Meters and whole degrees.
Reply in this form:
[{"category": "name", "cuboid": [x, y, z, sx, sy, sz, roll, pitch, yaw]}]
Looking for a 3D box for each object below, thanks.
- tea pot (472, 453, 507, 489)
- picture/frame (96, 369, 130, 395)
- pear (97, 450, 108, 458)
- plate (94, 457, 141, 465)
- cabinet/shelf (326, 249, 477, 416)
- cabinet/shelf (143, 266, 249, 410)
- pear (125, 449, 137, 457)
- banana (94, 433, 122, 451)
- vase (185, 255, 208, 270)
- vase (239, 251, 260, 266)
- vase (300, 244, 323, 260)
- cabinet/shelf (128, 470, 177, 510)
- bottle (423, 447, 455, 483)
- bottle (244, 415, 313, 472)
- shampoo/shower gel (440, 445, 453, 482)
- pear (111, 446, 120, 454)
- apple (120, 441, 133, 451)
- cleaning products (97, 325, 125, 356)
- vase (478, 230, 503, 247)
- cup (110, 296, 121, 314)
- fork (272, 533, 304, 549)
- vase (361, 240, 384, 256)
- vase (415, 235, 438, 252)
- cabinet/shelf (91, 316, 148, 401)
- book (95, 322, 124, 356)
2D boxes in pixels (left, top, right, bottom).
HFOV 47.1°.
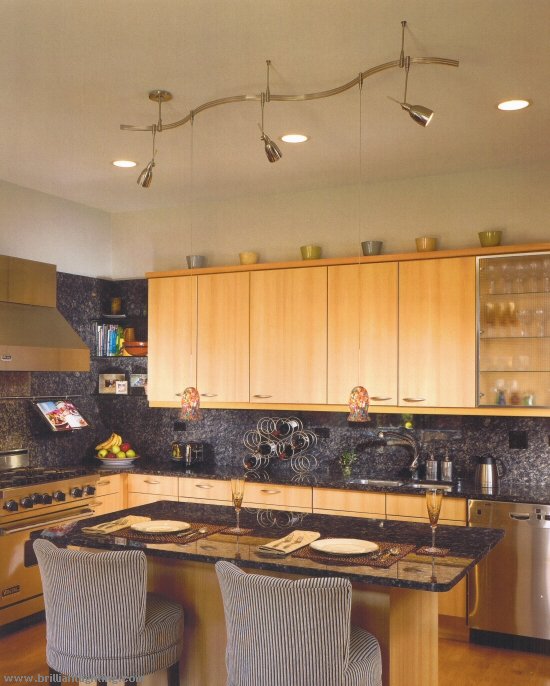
[{"category": "tea pot", "cuboid": [1.327, 0.795, 3.908, 0.166, 0.210, 0.206, -1, -8, 20]}, {"category": "picture/frame", "cuboid": [-1.373, 0.336, 5.308, 0.222, 0.154, 0.008, 0, -1, 6]}, {"category": "pear", "cuboid": [-1.380, 0.893, 5.026, 0.057, 0.053, 0.062, -28, 20, 27]}, {"category": "plate", "cuboid": [-1.255, 0.943, 5.064, 0.312, 0.060, 0.244, 0, -5, -17]}, {"category": "cabinet/shelf", "cuboid": [0.920, -0.060, 4.175, 0.397, 1.011, 1.100, 1, -1, -43]}, {"category": "cabinet/shelf", "cuboid": [-0.602, 0.043, 5.010, 0.398, 1.101, 0.990, -15, 6, -28]}, {"category": "pear", "cuboid": [-1.181, 0.902, 5.135, 0.065, 0.067, 0.135, -3, -5, 22]}, {"category": "banana", "cuboid": [-1.372, 0.818, 5.190, 0.210, 0.086, 0.104, -18, 3, -13]}, {"category": "vase", "cuboid": [-0.612, -0.619, 4.896, 0.143, 0.097, 0.141, 0, -6, -9]}, {"category": "vase", "cuboid": [-0.190, -0.621, 4.669, 0.116, 0.081, 0.109, 0, 2, 23]}, {"category": "vase", "cuboid": [0.254, -0.629, 4.468, 0.126, 0.088, 0.126, -1, -4, 5]}, {"category": "cabinet/shelf", "cuboid": [-0.843, 1.007, 4.376, 0.392, 0.275, 0.228, -2, -5, 30]}, {"category": "bottle", "cuboid": [1.078, 0.794, 4.118, 0.193, 0.240, 0.083, -4, -9, 37]}, {"category": "bottle", "cuboid": [-0.004, 0.737, 4.615, 0.606, 0.391, 0.310, -2, -4, 15]}, {"category": "shampoo/shower gel", "cuboid": [1.107, 0.783, 4.077, 0.080, 0.212, 0.196, -2, -4, 14]}, {"category": "pear", "cuboid": [-1.286, 0.859, 5.078, 0.045, 0.053, 0.045, 0, -1, 2]}, {"category": "apple", "cuboid": [-1.234, 0.846, 5.209, 0.071, 0.084, 0.072, 1, -5, 12]}, {"category": "cleaning products", "cuboid": [-1.391, -0.020, 5.352, 0.254, 0.342, 0.239, -1, -4, -3]}, {"category": "vase", "cuboid": [1.338, -0.638, 3.920, 0.125, 0.086, 0.124, -1, -5, 10]}, {"category": "cup", "cuboid": [-1.365, -0.306, 5.351, 0.093, 0.157, 0.080, 0, -4, -8]}, {"category": "fork", "cuboid": [0.041, 0.728, 2.314, 0.034, 0.012, 0.119, 2, 1, 18]}, {"category": "vase", "cuboid": [0.656, -0.633, 4.275, 0.130, 0.090, 0.130, 1, -4, -37]}, {"category": "vase", "cuboid": [0.983, -0.636, 4.119, 0.120, 0.080, 0.127, 2, -4, -40]}, {"category": "cabinet/shelf", "cuboid": [-1.304, 0.110, 5.268, 0.699, 0.762, 0.246, -2, -4, 16]}, {"category": "book", "cuboid": [-1.371, -0.037, 5.243, 0.243, 0.324, 0.245, -1, -4, -5]}]
